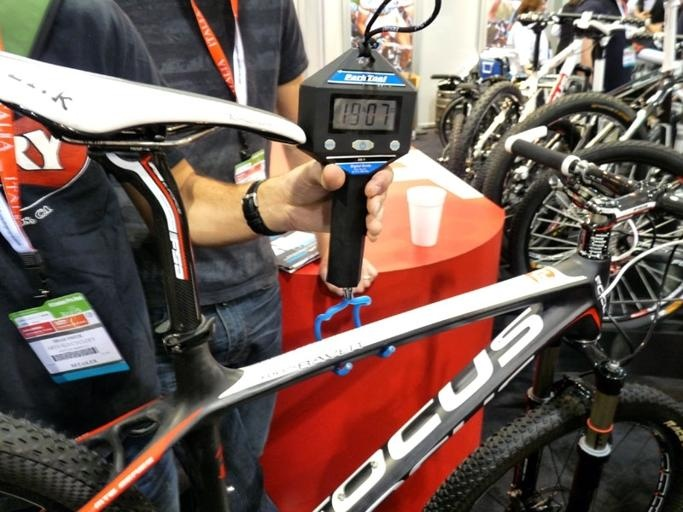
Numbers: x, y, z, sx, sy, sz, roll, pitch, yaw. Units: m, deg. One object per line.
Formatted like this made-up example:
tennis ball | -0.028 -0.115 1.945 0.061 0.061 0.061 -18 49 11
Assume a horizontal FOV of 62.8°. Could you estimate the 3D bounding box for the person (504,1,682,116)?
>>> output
person | 1.286 -1.202 3.155 0.942 0.549 0.712 -19 38 -15
